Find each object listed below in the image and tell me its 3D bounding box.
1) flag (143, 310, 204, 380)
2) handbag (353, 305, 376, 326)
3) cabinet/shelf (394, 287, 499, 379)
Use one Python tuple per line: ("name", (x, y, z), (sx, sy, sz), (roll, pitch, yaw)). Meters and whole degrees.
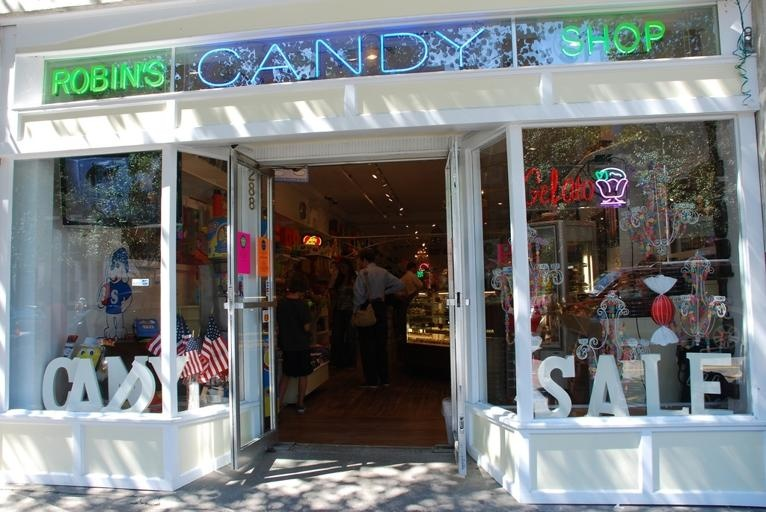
("flag", (-2.198, 0.935, 6.958), (0.576, 0.718, 0.079), (15, -4, -16))
("handbag", (-0.262, 0.895, 9.915), (0.267, 0.265, 0.116), (-5, -20, 23))
("cabinet/shelf", (0.978, 1.295, 10.738), (1.139, 1.179, 1.340), (1, -2, 0))
